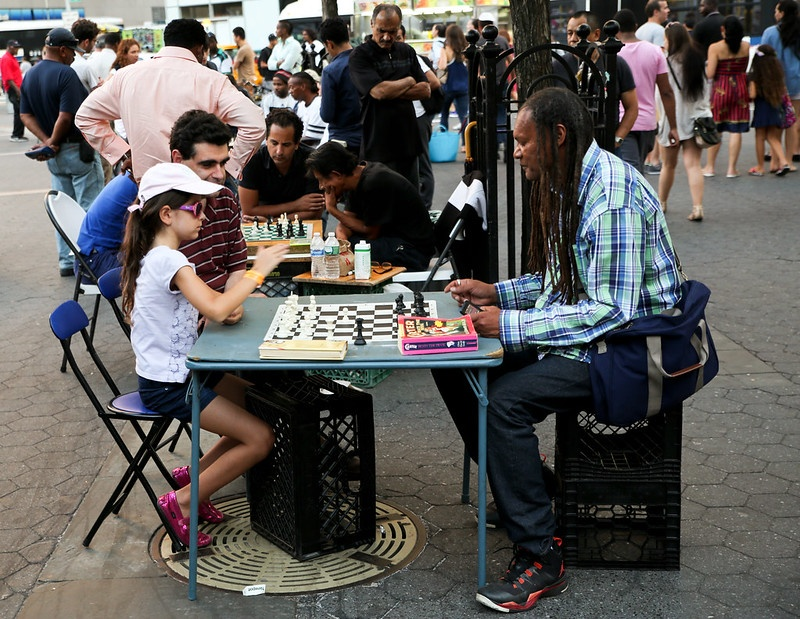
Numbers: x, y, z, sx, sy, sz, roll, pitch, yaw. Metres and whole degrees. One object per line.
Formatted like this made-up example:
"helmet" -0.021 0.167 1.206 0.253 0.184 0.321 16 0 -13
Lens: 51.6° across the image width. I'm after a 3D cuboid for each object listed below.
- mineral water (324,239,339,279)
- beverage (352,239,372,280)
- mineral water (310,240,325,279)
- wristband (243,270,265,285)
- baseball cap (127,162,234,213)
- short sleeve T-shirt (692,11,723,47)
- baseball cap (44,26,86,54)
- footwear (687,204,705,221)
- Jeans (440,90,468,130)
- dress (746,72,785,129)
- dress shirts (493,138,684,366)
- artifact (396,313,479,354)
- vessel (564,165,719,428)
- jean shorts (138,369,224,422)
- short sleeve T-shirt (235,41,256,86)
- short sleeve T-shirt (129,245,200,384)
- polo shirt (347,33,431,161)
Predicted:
"mineral water" -0.432 -0.323 5.186 0.103 0.212 0.229 -6 18 -3
"beverage" -0.242 -0.308 5.145 0.157 0.208 0.161 8 11 43
"mineral water" -0.525 -0.333 5.204 0.095 0.222 0.234 -7 19 -6
"wristband" -0.681 -0.153 3.844 0.070 0.071 0.052 11 65 53
"baseball cap" -1.060 -0.555 3.869 0.364 0.139 0.219 -9 8 -12
"short sleeve T-shirt" 4.417 -3.994 11.968 0.390 0.511 0.558 2 19 18
"baseball cap" -3.331 -2.672 8.229 0.223 0.184 0.330 33 35 30
"footwear" 3.294 -1.071 9.253 0.094 0.134 0.279 -9 13 6
"Jeans" 0.900 -3.445 14.114 0.356 1.119 0.507 0 -3 -4
"dress" 4.774 -2.677 10.817 0.439 0.662 0.397 3 20 22
"dress shirts" 0.832 -0.262 4.032 0.945 1.007 1.032 -4 12 -7
"artifact" 0.157 0.104 3.668 0.340 0.088 0.332 -5 18 -1
"vessel" 1.163 -0.028 3.761 0.920 0.904 0.501 -24 20 -25
"jean shorts" -1.027 0.399 3.843 0.327 0.116 0.248 -8 21 -18
"short sleeve T-shirt" -3.004 -4.755 16.121 0.298 0.735 0.486 2 16 11
"short sleeve T-shirt" -1.090 0.025 3.820 0.292 0.535 0.555 -5 13 -36
"polo shirt" -0.049 -1.696 7.766 0.634 1.667 0.535 -11 16 -16
